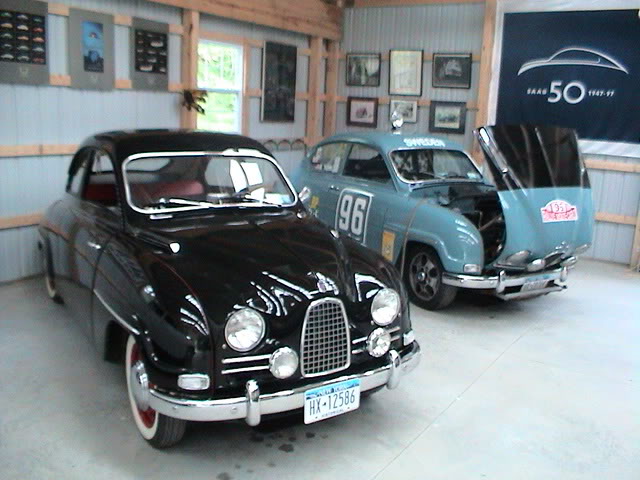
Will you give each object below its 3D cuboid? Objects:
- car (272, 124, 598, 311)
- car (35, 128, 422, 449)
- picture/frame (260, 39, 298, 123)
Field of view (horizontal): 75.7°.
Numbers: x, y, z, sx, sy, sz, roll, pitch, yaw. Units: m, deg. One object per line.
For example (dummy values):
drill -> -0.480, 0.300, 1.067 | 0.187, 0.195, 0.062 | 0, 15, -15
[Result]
car -> 1.125, -0.415, 5.198 | 1.811, 1.639, 3.581 | -5, 16, -34
car -> -0.959, -0.004, 3.017 | 1.489, 1.276, 2.977 | -4, 16, -38
picture/frame -> -0.729, -2.836, 7.488 | 0.091, 1.379, 0.899 | 12, 16, 38
